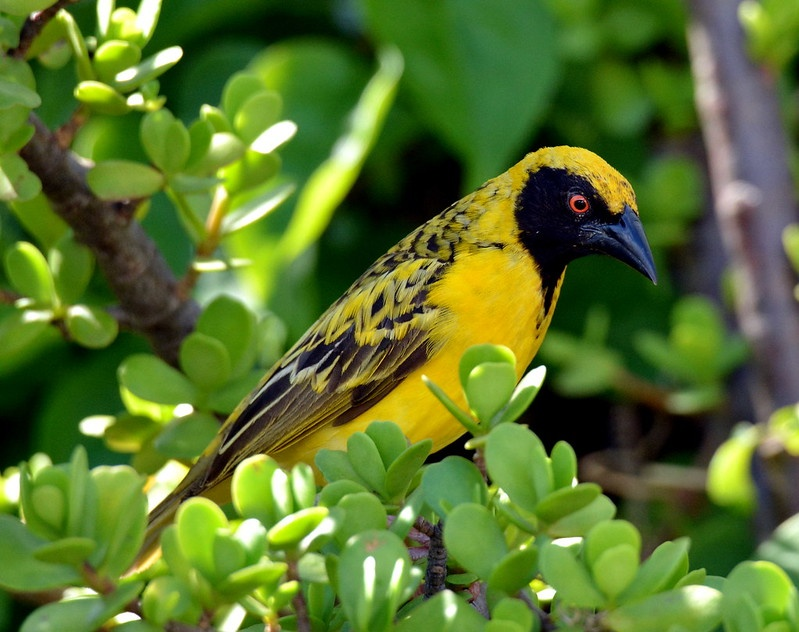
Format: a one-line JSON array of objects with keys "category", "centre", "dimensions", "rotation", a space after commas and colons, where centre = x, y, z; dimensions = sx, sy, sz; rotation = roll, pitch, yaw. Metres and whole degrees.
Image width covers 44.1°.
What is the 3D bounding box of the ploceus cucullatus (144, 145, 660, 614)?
[{"category": "ploceus cucullatus", "centre": [-0.084, 0.053, 3.720], "dimensions": [2.385, 1.407, 0.809], "rotation": [-15, 5, 0]}]
